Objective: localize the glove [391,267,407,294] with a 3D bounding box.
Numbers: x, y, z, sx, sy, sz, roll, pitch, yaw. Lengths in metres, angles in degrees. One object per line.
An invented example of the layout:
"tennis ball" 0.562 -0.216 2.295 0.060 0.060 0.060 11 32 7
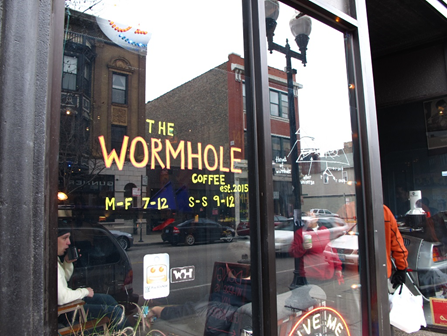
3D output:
"glove" 2.111 1.340 4.993 0.085 0.216 0.301 0 -40 -7

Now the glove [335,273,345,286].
"glove" 1.060 1.009 3.820 0.076 0.112 0.036 1 -5 -22

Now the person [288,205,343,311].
"person" 0.751 0.799 3.661 0.307 0.801 0.243 6 6 -25

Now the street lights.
"street lights" 0.640 -0.223 3.662 0.127 2.454 0.650 -6 -5 40

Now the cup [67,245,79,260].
"cup" -0.901 0.507 2.501 0.050 0.079 0.083 -3 -11 -2
